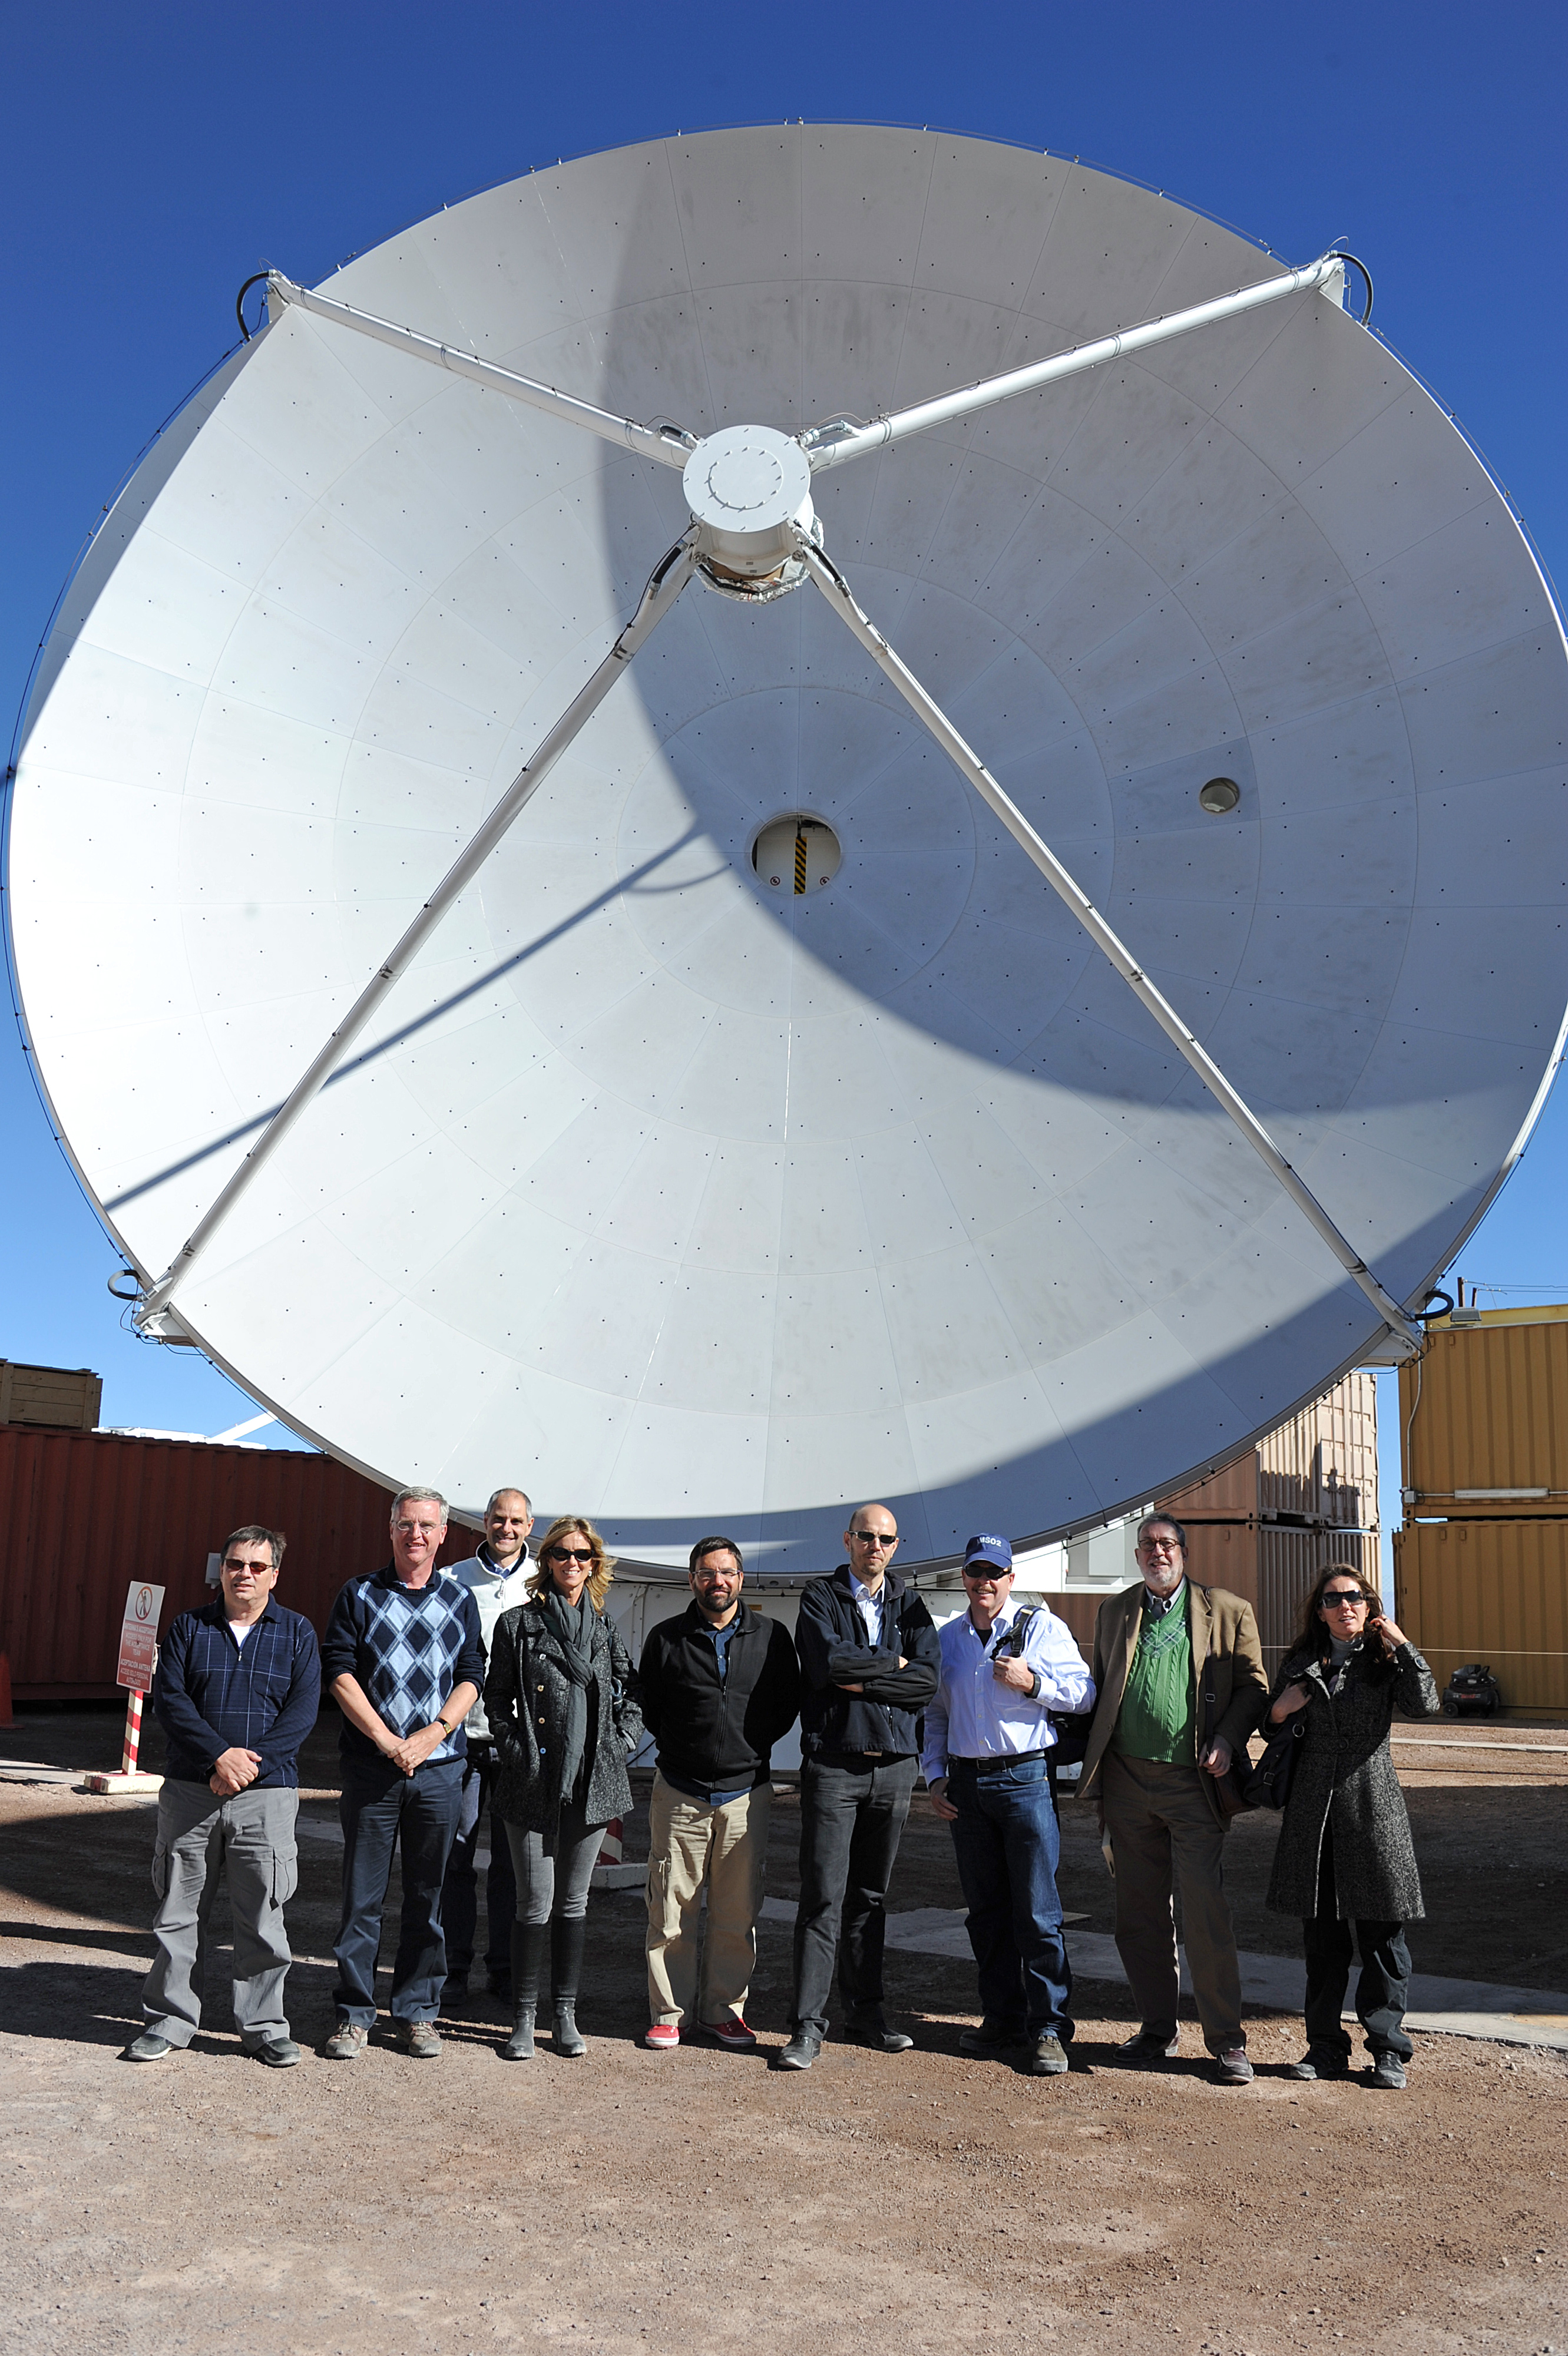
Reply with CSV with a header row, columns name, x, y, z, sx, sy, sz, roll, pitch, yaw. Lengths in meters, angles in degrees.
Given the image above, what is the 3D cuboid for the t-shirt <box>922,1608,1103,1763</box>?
name,x,y,z,sx,sy,sz,roll,pitch,yaw
t-shirt,0.960,2.228,7.473,0.812,0.804,0.514,-13,-30,34

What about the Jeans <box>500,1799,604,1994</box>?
name,x,y,z,sx,sy,sz,roll,pitch,yaw
Jeans,-0.966,2.895,6.859,0.385,0.565,0.285,6,-13,-13

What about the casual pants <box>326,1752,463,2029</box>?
name,x,y,z,sx,sy,sz,roll,pitch,yaw
casual pants,-1.631,2.935,7.028,0.458,1.366,0.417,6,10,-14

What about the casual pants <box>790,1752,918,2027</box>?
name,x,y,z,sx,sy,sz,roll,pitch,yaw
casual pants,0.239,3.019,7.106,0.405,1.069,0.796,-4,-14,27

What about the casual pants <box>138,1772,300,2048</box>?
name,x,y,z,sx,sy,sz,roll,pitch,yaw
casual pants,-2.251,2.812,6.603,0.536,1.312,0.393,6,7,-16

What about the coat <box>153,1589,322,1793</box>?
name,x,y,z,sx,sy,sz,roll,pitch,yaw
coat,-2.225,2.085,6.735,0.590,0.849,0.457,10,-38,-24

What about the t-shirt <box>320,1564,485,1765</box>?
name,x,y,z,sx,sy,sz,roll,pitch,yaw
t-shirt,-1.589,2.005,7.252,0.626,0.849,0.395,2,27,1

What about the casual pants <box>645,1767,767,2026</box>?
name,x,y,z,sx,sy,sz,roll,pitch,yaw
casual pants,-0.353,3.092,7.189,0.495,0.975,0.372,3,-12,0

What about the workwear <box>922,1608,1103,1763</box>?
name,x,y,z,sx,sy,sz,roll,pitch,yaw
workwear,0.989,2.245,7.371,0.486,0.484,0.307,-23,-52,30

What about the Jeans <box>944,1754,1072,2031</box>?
name,x,y,z,sx,sy,sz,roll,pitch,yaw
Jeans,0.988,3.055,7.147,0.352,1.153,0.752,9,-14,-26

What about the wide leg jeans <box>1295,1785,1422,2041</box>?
name,x,y,z,sx,sy,sz,roll,pitch,yaw
wide leg jeans,2.319,3.127,6.809,0.386,0.277,0.942,-2,30,24

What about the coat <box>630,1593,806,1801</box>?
name,x,y,z,sx,sy,sz,roll,pitch,yaw
coat,-0.278,2.282,7.637,0.876,1.125,0.666,2,-36,-1
